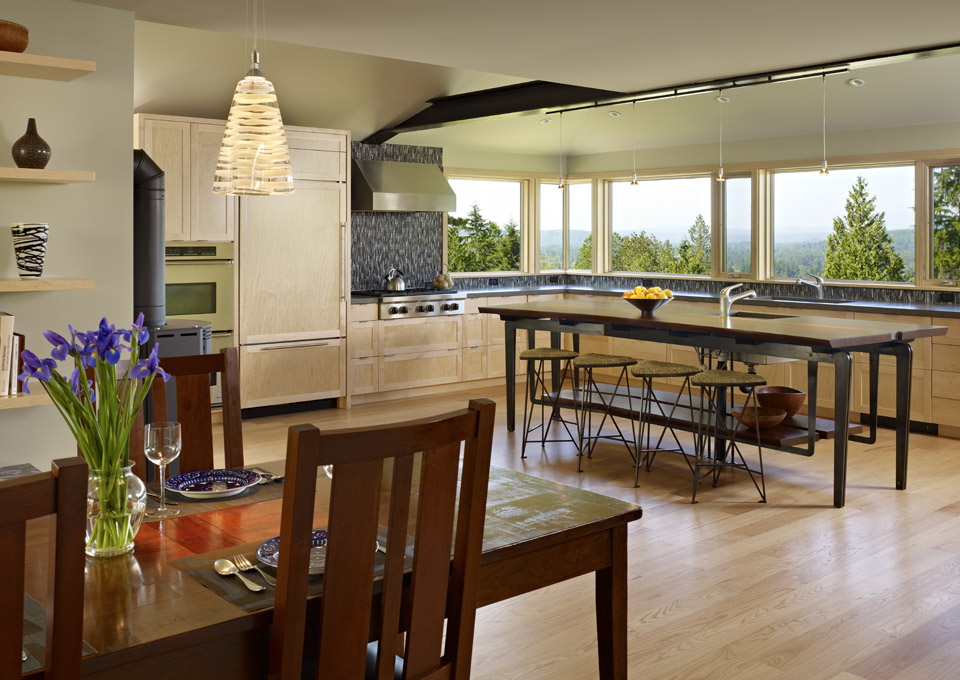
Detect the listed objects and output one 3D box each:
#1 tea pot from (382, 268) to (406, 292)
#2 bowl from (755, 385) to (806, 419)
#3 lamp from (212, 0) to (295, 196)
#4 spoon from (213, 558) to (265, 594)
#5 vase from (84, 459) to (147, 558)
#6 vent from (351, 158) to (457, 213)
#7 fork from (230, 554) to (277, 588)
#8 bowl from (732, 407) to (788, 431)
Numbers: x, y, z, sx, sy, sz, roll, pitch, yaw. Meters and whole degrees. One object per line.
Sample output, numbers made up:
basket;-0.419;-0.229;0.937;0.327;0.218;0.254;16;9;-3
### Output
tea pot;-0.963;-0.627;7.938;0.287;0.275;0.202;3;-5;-23
bowl;2.198;0.441;5.289;0.300;0.146;0.290;-1;2;0
lamp;-0.875;-0.824;2.777;0.282;0.540;0.188;-4;9;-20
spoon;-0.570;0.537;1.725;0.053;0.033;0.241;-2;6;-30
vase;-0.970;0.432;1.902;0.172;0.191;0.173;-2;-3;24
vent;-0.859;-1.661;8.025;1.010;0.504;0.696;-5;13;-30
fork;-0.543;0.534;1.756;0.047;0.028;0.204;-1;4;-30
bowl;1.991;0.551;5.096;0.207;0.064;0.201;0;3;0
